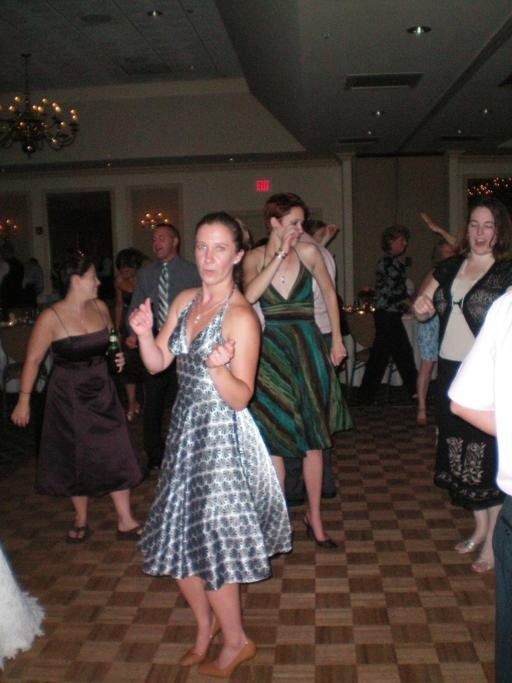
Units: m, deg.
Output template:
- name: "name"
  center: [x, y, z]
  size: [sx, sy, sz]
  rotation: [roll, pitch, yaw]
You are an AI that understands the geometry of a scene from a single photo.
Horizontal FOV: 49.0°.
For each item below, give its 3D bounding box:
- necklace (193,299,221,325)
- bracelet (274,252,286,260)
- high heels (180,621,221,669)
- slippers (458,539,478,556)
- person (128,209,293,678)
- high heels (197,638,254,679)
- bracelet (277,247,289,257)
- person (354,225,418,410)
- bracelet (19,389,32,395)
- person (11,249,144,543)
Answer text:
- name: "necklace"
  center: [-0.133, -0.083, 1.554]
  size: [0.062, 0.022, 0.061]
  rotation: [4, 34, 41]
- name: "bracelet"
  center: [0.102, -0.356, 2.303]
  size: [0.008, 0.026, 0.028]
  rotation: [9, 8, -36]
- name: "high heels"
  center: [-0.180, 0.987, 1.822]
  size: [0.059, 0.067, 0.174]
  rotation: [-4, -5, 31]
- name: "slippers"
  center: [0.971, 0.949, 2.587]
  size: [0.102, 0.036, 0.045]
  rotation: [-1, 14, -10]
- name: "person"
  center: [-0.162, 0.334, 1.521]
  size: [0.400, 1.383, 0.410]
  rotation: [0, 4, 22]
- name: "high heels"
  center: [-0.082, 0.969, 1.744]
  size: [0.226, 0.101, 0.075]
  rotation: [-9, 8, 5]
- name: "bracelet"
  center: [0.111, -0.376, 2.314]
  size: [0.038, 0.044, 0.018]
  rotation: [3, -27, 3]
- name: "person"
  center: [1.338, -0.267, 5.695]
  size: [0.509, 1.791, 0.349]
  rotation: [2, 5, 40]
- name: "bracelet"
  center: [-1.083, 0.241, 2.637]
  size: [0.047, 0.024, 0.034]
  rotation: [-3, 4, -28]
- name: "person"
  center: [-0.861, 0.171, 2.674]
  size: [0.568, 1.131, 0.242]
  rotation: [-3, 4, -12]
